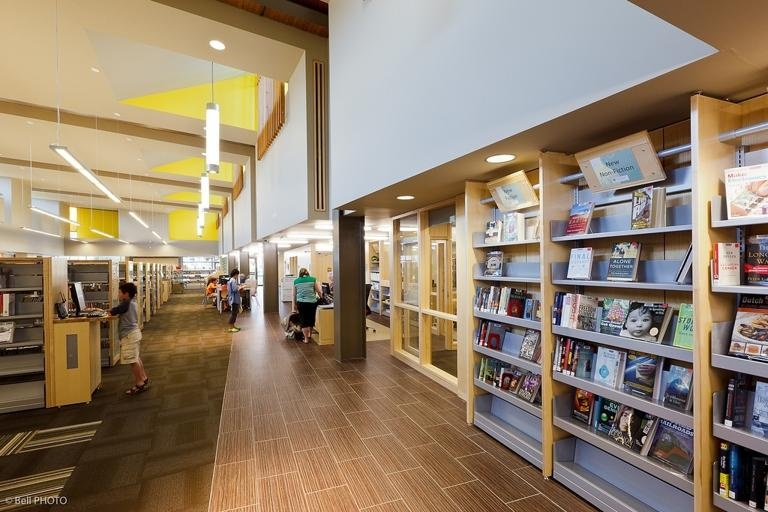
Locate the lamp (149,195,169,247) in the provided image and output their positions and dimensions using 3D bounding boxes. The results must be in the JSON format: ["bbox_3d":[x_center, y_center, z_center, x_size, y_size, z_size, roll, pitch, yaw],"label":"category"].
[{"bbox_3d":[-11.739,-1.842,24.633,1.113,2.014,2.026,1,-1,-31],"label":"lamp"}]

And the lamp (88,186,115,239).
[{"bbox_3d":[-12.830,-1.927,21.374,0.828,1.462,1.485,-6,9,-29],"label":"lamp"}]

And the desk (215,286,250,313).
[{"bbox_3d":[-5.057,1.448,15.974,1.179,0.875,0.945,3,-5,-39],"label":"desk"}]

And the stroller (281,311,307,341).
[{"bbox_3d":[-2.128,1.533,11.046,0.525,0.722,0.738,2,-4,-27],"label":"stroller"}]

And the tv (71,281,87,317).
[{"bbox_3d":[-5.040,0.710,7.793,0.161,0.452,0.434,-8,9,-20],"label":"tv"}]

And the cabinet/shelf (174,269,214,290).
[{"bbox_3d":[-11.477,1.377,28.316,1.666,1.189,3.544,-4,13,-16],"label":"cabinet/shelf"}]

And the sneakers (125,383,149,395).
[{"bbox_3d":[-3.909,2.093,7.523,0.145,0.101,0.282,-1,-6,23],"label":"sneakers"}]

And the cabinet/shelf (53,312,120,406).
[{"bbox_3d":[-4.881,1.663,7.731,1.025,1.426,1.466,-1,-1,-20],"label":"cabinet/shelf"}]

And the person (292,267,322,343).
[{"bbox_3d":[-1.668,1.066,10.367,0.551,1.717,0.559,-3,13,-11],"label":"person"}]

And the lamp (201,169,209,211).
[{"bbox_3d":[-3.843,-1.368,10.150,0.168,0.798,0.521,-6,14,-22],"label":"lamp"}]

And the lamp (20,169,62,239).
[{"bbox_3d":[-12.857,-1.982,17.669,1.036,1.915,1.842,-1,-7,-4],"label":"lamp"}]
